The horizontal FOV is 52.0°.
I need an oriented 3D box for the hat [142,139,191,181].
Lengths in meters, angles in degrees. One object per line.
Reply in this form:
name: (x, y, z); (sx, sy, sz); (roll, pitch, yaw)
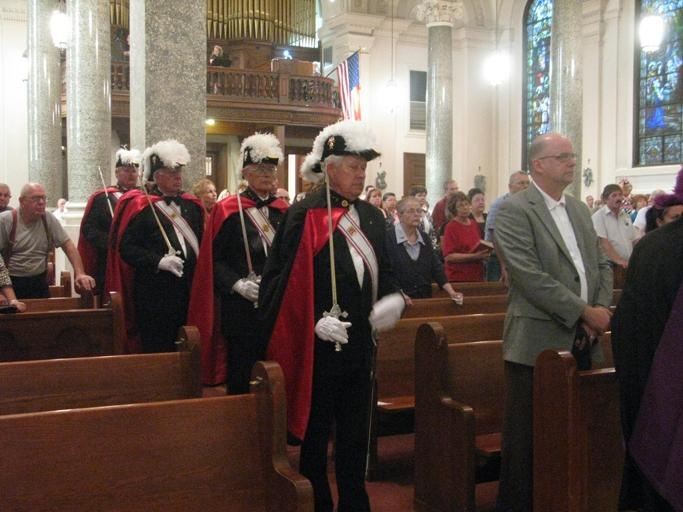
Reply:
hat: (-1.336, -0.712, 5.242); (0.240, 0.306, 0.373); (-10, 13, -41)

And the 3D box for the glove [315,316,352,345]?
glove: (-0.045, 0.380, 3.506); (0.187, 0.157, 0.131); (-3, 9, -3)

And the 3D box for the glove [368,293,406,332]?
glove: (0.239, 0.285, 3.573); (0.132, 0.065, 0.207); (19, 62, 21)

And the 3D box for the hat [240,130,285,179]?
hat: (-0.521, -0.681, 4.668); (0.229, 0.258, 0.242); (1, -2, -39)

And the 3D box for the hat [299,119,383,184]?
hat: (-0.017, -0.569, 3.690); (0.333, 0.162, 0.327); (-11, -1, 39)

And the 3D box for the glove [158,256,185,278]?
glove: (-1.250, 0.077, 5.154); (0.170, 0.180, 0.124); (-19, -2, -13)
